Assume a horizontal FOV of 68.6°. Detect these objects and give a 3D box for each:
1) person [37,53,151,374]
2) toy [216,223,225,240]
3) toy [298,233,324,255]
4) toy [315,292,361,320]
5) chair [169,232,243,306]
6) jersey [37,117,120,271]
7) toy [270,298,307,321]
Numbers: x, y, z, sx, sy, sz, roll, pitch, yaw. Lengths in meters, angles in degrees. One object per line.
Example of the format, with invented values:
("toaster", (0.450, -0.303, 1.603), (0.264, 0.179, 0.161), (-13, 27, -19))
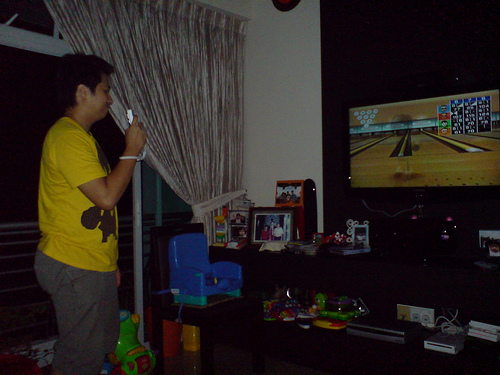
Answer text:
("person", (-0.727, 0.118, 1.720), (0.465, 1.509, 0.315), (1, -2, -29))
("toy", (-0.251, 0.388, 3.240), (0.075, 0.117, 0.111), (0, -6, -2))
("toy", (0.478, 0.432, 2.734), (0.119, 0.082, 0.167), (2, 10, 29))
("toy", (0.579, 0.847, 2.598), (0.159, 0.087, 0.222), (2, -5, -44))
("chair", (-0.329, 0.552, 2.791), (0.437, 0.556, 0.554), (-6, -6, 37))
("jersey", (-0.803, 0.035, 1.720), (0.361, 0.746, 0.329), (1, -2, -22))
("toy", (0.285, 0.923, 2.755), (0.262, 0.082, 0.304), (0, -2, 5))
